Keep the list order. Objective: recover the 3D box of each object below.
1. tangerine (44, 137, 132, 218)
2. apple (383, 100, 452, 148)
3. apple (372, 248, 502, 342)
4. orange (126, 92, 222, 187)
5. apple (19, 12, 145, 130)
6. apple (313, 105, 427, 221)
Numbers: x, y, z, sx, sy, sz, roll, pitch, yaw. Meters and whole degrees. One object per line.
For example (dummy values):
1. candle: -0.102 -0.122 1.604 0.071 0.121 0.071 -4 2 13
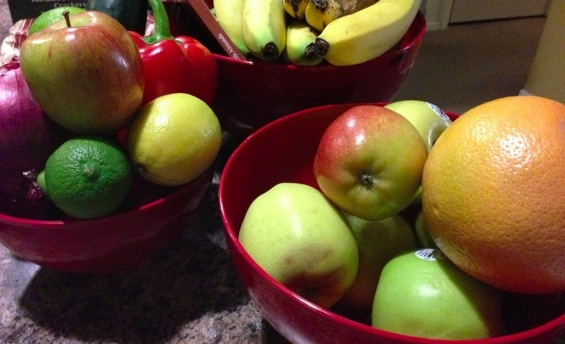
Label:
1. tangerine: -0.324 0.013 0.787 0.129 0.100 0.110 -26 53 -24
2. apple: 0.259 -0.093 0.899 0.113 0.100 0.099 13 39 27
3. apple: 0.241 0.211 0.743 0.127 0.138 0.143 22 45 -1
4. orange: -0.189 -0.058 0.871 0.162 0.133 0.126 -36 54 -28
5. apple: -0.355 -0.179 0.846 0.186 0.217 0.189 -22 37 -33
6. apple: 0.150 -0.015 0.869 0.179 0.182 0.186 -34 13 -8
